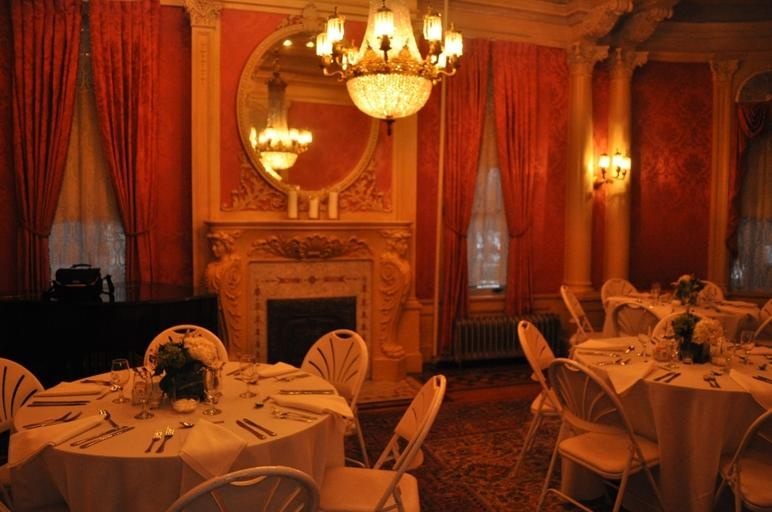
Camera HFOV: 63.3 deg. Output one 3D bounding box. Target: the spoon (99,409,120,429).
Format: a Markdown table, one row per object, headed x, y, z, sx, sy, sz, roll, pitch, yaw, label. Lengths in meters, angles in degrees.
| x | y | z | sx | sy | sz | roll | pitch | yaw | label |
| --- | --- | --- | --- | --- | --- | --- | --- | --- | --- |
| -1.954 | 1.170 | 4.454 | 0.077 | 0.061 | 0.377 | -9 | 13 | -31 | spoon |

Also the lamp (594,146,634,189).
| x | y | z | sx | sy | sz | roll | pitch | yaw | label |
| --- | --- | --- | --- | --- | --- | --- | --- | --- | --- |
| 3.293 | -1.244 | 9.335 | 0.622 | 0.774 | 0.497 | -1 | 3 | -31 | lamp |

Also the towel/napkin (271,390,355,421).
| x | y | z | sx | sy | sz | roll | pitch | yaw | label |
| --- | --- | --- | --- | --- | --- | --- | --- | --- | --- |
| -0.518 | 1.109 | 4.653 | 0.374 | 0.081 | 0.274 | 9 | 1 | -20 | towel/napkin |

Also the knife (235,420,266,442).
| x | y | z | sx | sy | sz | roll | pitch | yaw | label |
| --- | --- | --- | --- | --- | --- | --- | --- | --- | --- |
| -0.942 | 1.221 | 4.377 | 0.082 | 0.032 | 0.352 | -6 | 11 | -40 | knife |

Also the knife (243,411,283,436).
| x | y | z | sx | sy | sz | roll | pitch | yaw | label |
| --- | --- | --- | --- | --- | --- | --- | --- | --- | --- |
| -0.894 | 1.192 | 4.416 | 0.096 | 0.025 | 0.357 | -9 | 9 | -37 | knife |

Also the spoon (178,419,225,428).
| x | y | z | sx | sy | sz | roll | pitch | yaw | label |
| --- | --- | --- | --- | --- | --- | --- | --- | --- | --- |
| -1.287 | 1.176 | 4.366 | 0.260 | 0.040 | 0.047 | -3 | 7 | 4 | spoon |

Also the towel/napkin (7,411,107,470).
| x | y | z | sx | sy | sz | roll | pitch | yaw | label |
| --- | --- | --- | --- | --- | --- | --- | --- | --- | --- |
| -2.236 | 1.284 | 4.299 | 0.526 | 0.166 | 0.294 | -18 | 20 | -35 | towel/napkin |

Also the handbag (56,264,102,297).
| x | y | z | sx | sy | sz | roll | pitch | yaw | label |
| --- | --- | --- | --- | --- | --- | --- | --- | --- | --- |
| -3.114 | 0.303 | 6.457 | 0.529 | 0.443 | 0.277 | 0 | -7 | -9 | handbag |

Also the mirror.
| x | y | z | sx | sy | sz | roll | pitch | yaw | label |
| --- | --- | --- | --- | --- | --- | --- | --- | --- | --- |
| -1.028 | -1.926 | 7.567 | 2.319 | 2.813 | 0.144 | -1 | 6 | -12 | mirror |
